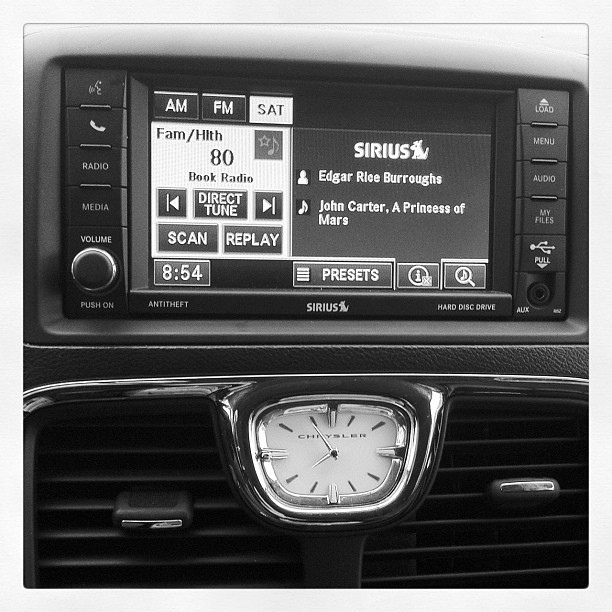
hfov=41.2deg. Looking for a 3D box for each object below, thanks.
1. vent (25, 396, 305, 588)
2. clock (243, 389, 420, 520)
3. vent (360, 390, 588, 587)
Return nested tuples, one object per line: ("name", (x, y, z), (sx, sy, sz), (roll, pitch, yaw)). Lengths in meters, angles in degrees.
("vent", (-0.211, 0.256, 1.161), (0.242, 0.239, 0.086), (-1, -5, -5))
("clock", (0.029, 0.215, 1.160), (0.167, 0.139, 0.019), (0, -8, -5))
("vent", (0.260, 0.233, 1.347), (0.315, 0.326, 0.304), (0, -1, -3))
